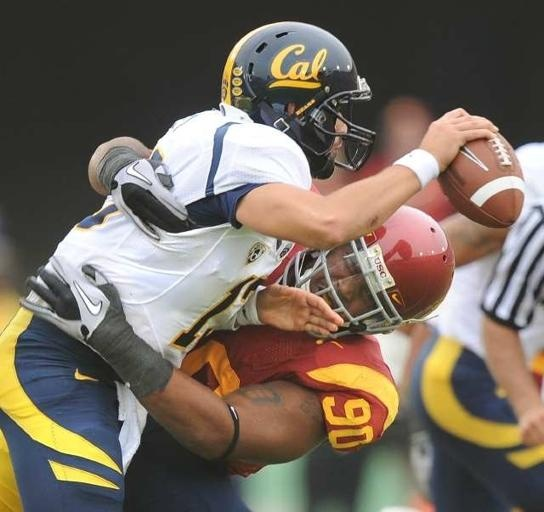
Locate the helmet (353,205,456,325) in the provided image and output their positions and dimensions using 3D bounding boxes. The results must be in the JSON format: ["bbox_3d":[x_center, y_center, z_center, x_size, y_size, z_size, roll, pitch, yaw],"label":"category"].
[{"bbox_3d":[0.476,0.022,2.559,0.308,0.316,0.372,-20,7,-32],"label":"helmet"}]

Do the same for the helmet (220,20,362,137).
[{"bbox_3d":[0.130,-0.537,2.495,0.474,0.326,0.329,9,23,10],"label":"helmet"}]

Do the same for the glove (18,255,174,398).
[{"bbox_3d":[-0.484,0.231,2.255,0.432,0.154,0.306,32,44,-9],"label":"glove"}]
